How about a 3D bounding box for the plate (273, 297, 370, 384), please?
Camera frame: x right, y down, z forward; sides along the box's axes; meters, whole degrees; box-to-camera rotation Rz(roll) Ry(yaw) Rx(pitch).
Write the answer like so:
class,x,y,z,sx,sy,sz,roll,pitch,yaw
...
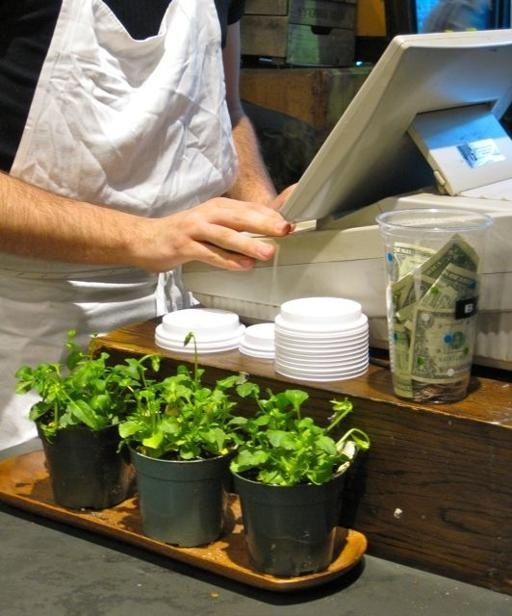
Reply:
class,x,y,z,sx,sy,sz,roll,pitch,yaw
plate,0.077,0.032,0.683,0.107,0.056,0.096,-3,13,-8
